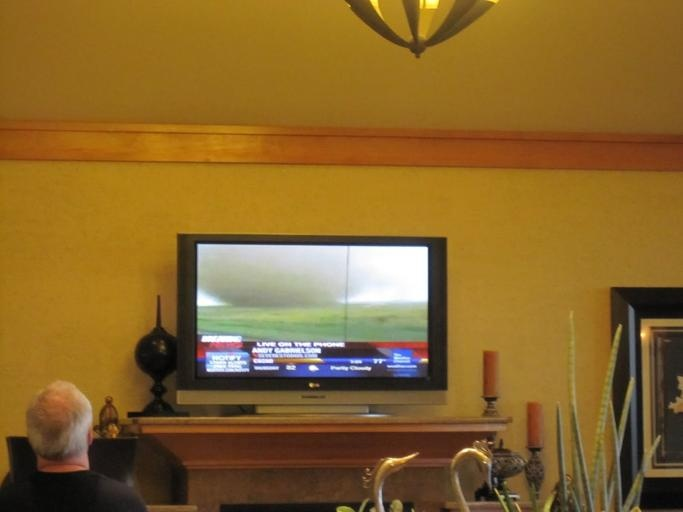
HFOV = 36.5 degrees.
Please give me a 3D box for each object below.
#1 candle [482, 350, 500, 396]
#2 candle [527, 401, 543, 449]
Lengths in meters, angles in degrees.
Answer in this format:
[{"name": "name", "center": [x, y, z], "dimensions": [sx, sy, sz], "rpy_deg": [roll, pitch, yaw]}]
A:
[{"name": "candle", "center": [0.881, 0.692, 6.011], "dimensions": [0.084, 0.274, 0.051], "rpy_deg": [1, -6, 7]}, {"name": "candle", "center": [1.148, 0.996, 6.052], "dimensions": [0.091, 0.273, 0.114], "rpy_deg": [1, -7, 7]}]
